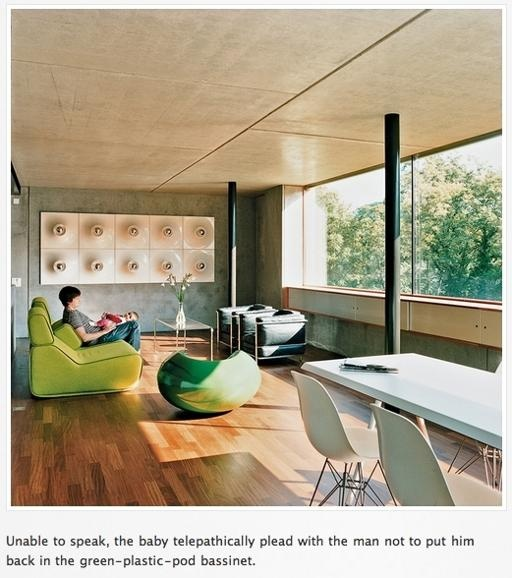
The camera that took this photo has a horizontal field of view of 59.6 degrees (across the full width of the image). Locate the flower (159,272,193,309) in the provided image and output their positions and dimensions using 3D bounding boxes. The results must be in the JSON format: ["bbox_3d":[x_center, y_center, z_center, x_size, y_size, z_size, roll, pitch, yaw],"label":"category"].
[{"bbox_3d":[-1.519,0.063,9.039,0.706,0.729,0.723,7,14,37],"label":"flower"}]

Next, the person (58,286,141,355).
[{"bbox_3d":[-1.979,0.508,5.849,0.929,1.201,0.593,-13,24,-25],"label":"person"}]

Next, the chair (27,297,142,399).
[{"bbox_3d":[-1.885,0.471,4.871,0.956,0.750,1.302,0,2,-19],"label":"chair"}]

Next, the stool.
[{"bbox_3d":[-0.457,0.942,4.280,0.796,0.421,0.803,-10,-6,-30],"label":"stool"}]

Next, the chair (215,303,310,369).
[{"bbox_3d":[0.201,0.855,6.527,0.792,0.690,1.377,1,-1,-26],"label":"chair"}]
